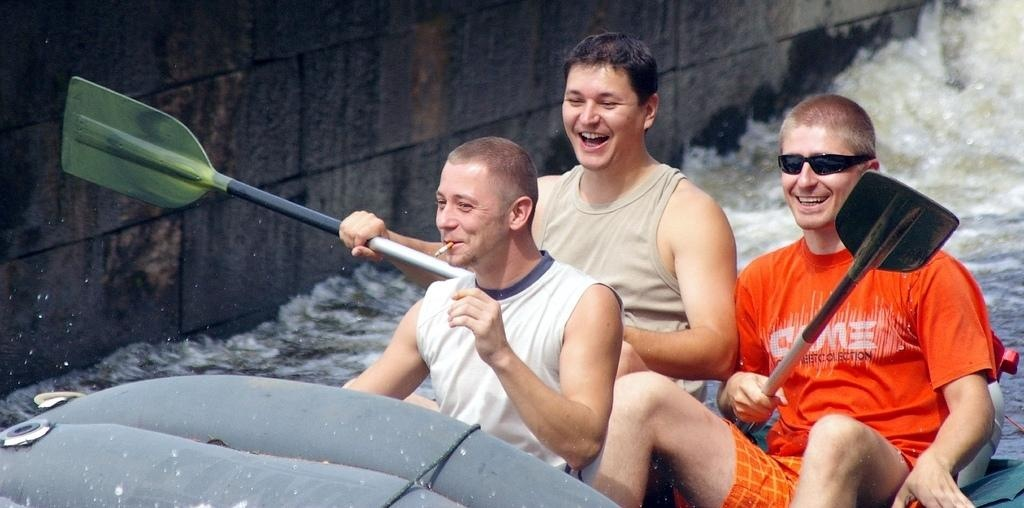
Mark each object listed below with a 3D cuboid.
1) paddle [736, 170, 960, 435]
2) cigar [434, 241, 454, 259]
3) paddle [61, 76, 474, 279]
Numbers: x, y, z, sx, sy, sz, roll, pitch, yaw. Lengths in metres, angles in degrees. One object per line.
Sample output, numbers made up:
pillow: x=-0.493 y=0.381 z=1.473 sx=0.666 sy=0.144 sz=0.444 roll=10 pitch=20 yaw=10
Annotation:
paddle: x=2.088 y=0.330 z=11.353 sx=0.669 sy=1.861 sz=0.103 roll=38 pitch=36 yaw=12
cigar: x=-0.423 y=-0.022 z=11.116 sx=0.058 sy=0.061 sz=0.235 roll=-28 pitch=-3 yaw=-35
paddle: x=-1.570 y=-0.247 z=13.262 sx=0.267 sy=0.707 sz=4.595 roll=-13 pitch=-21 yaw=35
